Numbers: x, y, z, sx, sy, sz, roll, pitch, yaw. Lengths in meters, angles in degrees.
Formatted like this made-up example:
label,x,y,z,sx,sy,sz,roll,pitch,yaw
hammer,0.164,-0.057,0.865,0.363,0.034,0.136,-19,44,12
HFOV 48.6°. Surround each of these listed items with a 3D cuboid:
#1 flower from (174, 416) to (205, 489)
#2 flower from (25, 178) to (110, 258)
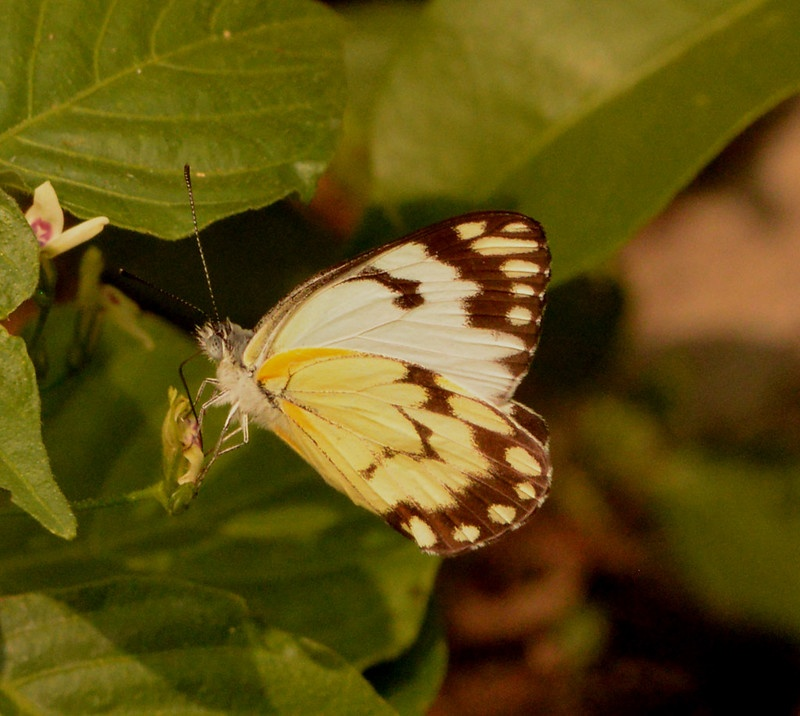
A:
label,x,y,z,sx,sy,sz,roll,pitch,yaw
flower,-0.334,0.162,1.426,0.038,0.123,0.130,4,46,-13
flower,-0.523,-0.214,1.348,0.122,0.103,0.106,40,51,23
